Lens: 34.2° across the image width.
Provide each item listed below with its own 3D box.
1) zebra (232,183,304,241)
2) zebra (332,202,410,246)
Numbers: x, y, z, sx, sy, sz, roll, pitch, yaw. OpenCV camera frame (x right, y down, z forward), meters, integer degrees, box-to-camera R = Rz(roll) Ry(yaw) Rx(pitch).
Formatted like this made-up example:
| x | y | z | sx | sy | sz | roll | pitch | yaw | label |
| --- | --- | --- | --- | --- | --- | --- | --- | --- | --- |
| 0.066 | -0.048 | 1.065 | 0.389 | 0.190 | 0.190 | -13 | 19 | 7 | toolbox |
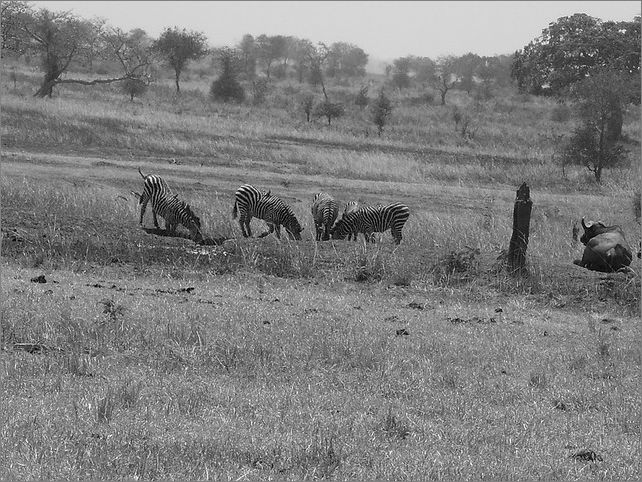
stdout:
| x | y | z | sx | sy | sz | roll | pitch | yaw | label |
| --- | --- | --- | --- | --- | --- | --- | --- | --- | --- |
| -1.946 | -0.980 | 36.270 | 2.256 | 1.723 | 0.848 | 3 | 8 | -8 | zebra |
| 1.758 | -0.637 | 36.145 | 2.581 | 1.488 | 0.548 | 8 | 9 | 20 | zebra |
